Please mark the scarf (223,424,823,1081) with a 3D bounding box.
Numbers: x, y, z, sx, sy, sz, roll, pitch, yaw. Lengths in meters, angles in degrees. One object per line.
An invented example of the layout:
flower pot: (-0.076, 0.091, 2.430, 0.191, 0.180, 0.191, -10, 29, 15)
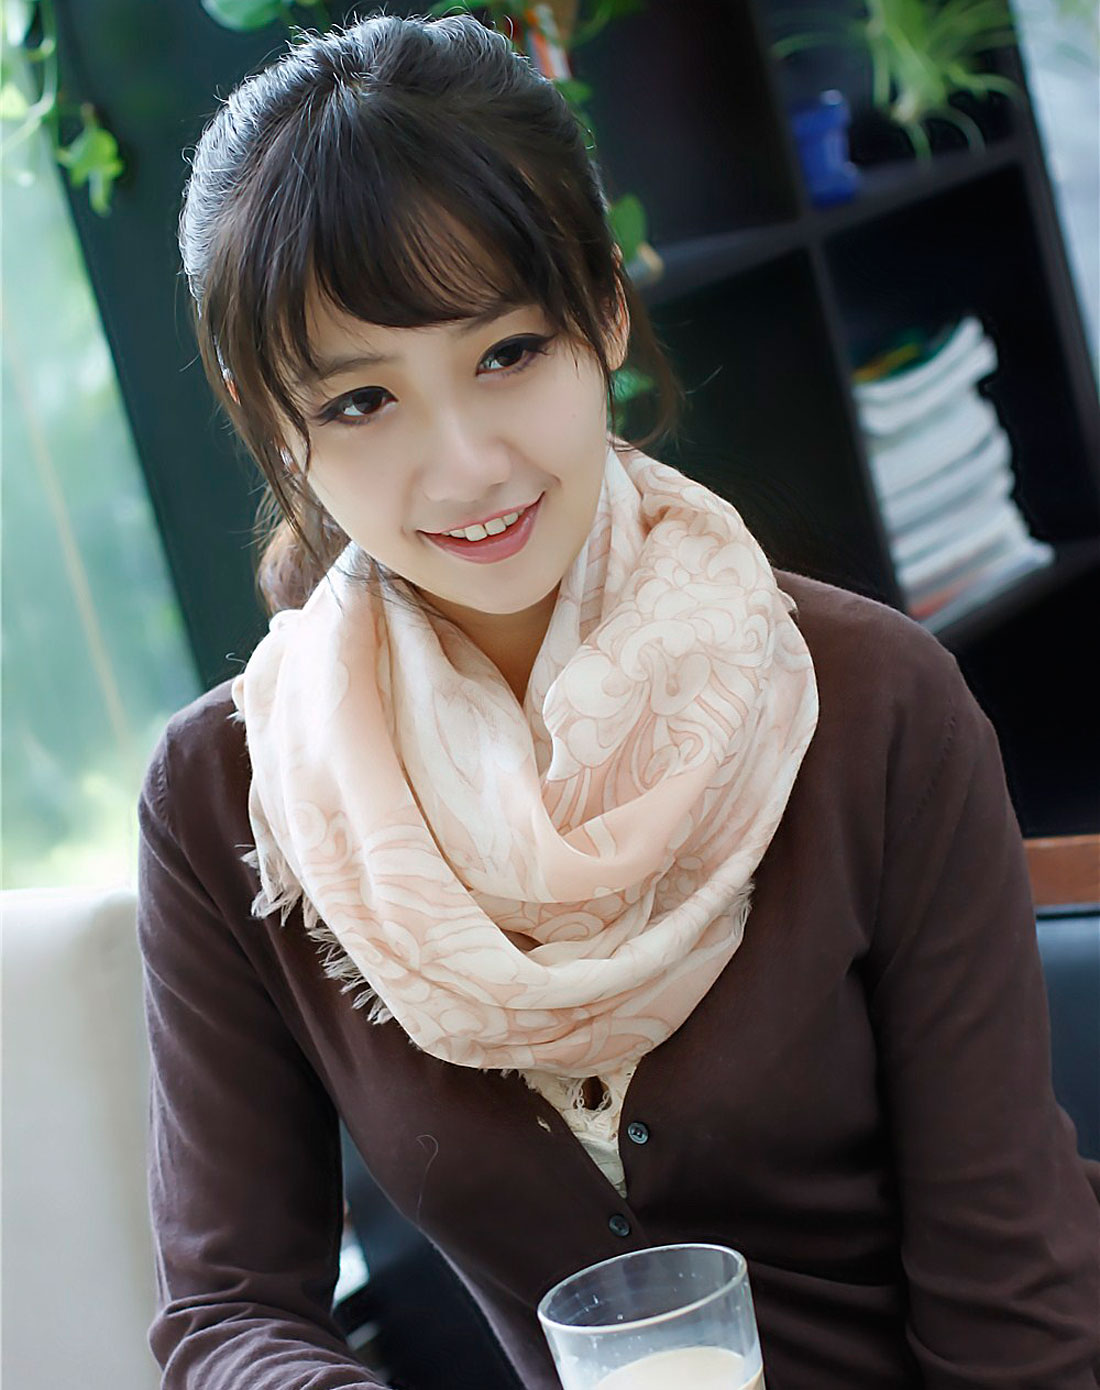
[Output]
scarf: (-0.006, 0.038, 1.260, 0.522, 0.479, 0.226, -10, -2, 6)
